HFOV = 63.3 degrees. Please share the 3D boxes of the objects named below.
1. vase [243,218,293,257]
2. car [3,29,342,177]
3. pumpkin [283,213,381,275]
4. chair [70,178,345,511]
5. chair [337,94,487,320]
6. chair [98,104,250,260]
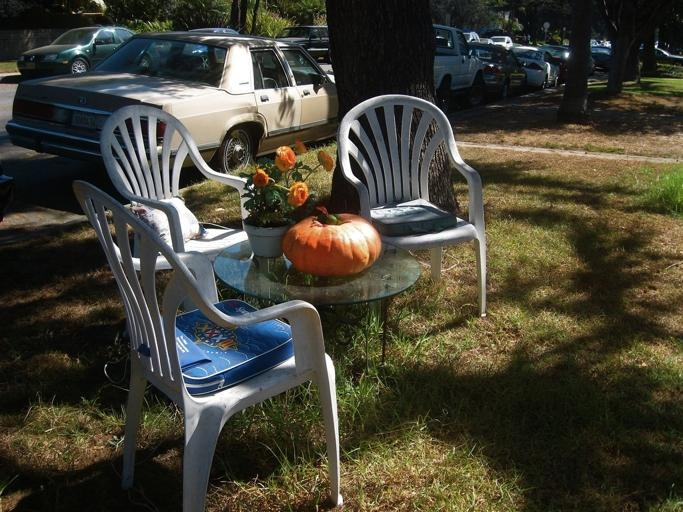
[{"bbox_3d":[-0.476,-0.101,3.588,0.239,0.250,0.244,17,24,39],"label":"vase"},{"bbox_3d":[-2.075,-2.252,7.900,3.687,2.524,3.309,5,21,21],"label":"car"},{"bbox_3d":[-0.064,-0.049,3.631,0.641,0.413,0.712,1,10,23],"label":"pumpkin"},{"bbox_3d":[-0.762,0.558,3.206,1.044,1.671,1.040,-18,31,-38],"label":"chair"},{"bbox_3d":[0.660,-0.580,4.712,1.100,2.000,1.424,-4,22,-12],"label":"chair"},{"bbox_3d":[-1.418,-0.429,4.310,0.752,1.377,0.929,-8,19,-34],"label":"chair"}]
